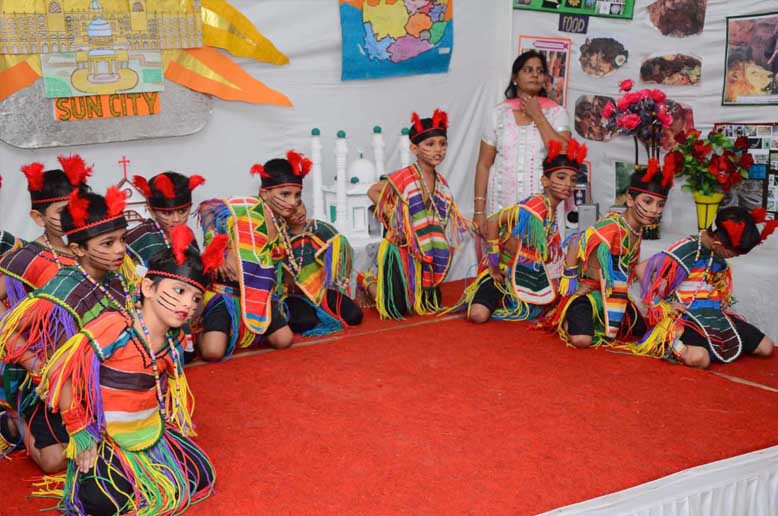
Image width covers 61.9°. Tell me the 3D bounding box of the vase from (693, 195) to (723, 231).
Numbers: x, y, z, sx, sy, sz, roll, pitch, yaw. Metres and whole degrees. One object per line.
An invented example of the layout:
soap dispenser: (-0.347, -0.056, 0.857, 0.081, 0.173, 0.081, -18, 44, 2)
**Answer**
vase: (2.206, -0.324, 4.510, 0.200, 0.253, 0.188, 5, 7, 27)

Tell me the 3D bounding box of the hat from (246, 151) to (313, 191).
hat: (-0.653, -0.524, 3.997, 0.290, 0.169, 0.267, 0, 4, -3)

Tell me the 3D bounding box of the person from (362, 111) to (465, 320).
person: (0.169, -0.301, 4.488, 0.763, 1.393, 0.393, -2, 14, -4)

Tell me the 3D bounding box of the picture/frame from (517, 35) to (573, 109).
picture/frame: (1.271, -1.552, 5.296, 0.433, 0.598, 0.012, 5, -22, 2)

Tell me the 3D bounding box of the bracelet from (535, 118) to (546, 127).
bracelet: (1.083, -0.971, 4.645, 0.049, 0.038, 0.051, 0, -5, 3)

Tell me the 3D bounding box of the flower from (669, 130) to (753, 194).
flower: (2.174, -0.642, 4.373, 0.787, 0.431, 0.431, -12, 18, -39)

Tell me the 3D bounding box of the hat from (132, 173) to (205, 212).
hat: (-1.282, -0.398, 3.773, 0.403, 0.196, 0.242, -9, 17, -38)

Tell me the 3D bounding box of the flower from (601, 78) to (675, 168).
flower: (1.861, -0.993, 4.760, 0.511, 0.595, 0.468, -12, -6, -32)

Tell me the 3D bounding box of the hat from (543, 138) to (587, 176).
hat: (1.134, -0.646, 4.223, 0.288, 0.300, 0.154, 0, 3, 9)

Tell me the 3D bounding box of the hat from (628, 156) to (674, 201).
hat: (1.569, -0.470, 3.873, 0.215, 0.210, 0.268, 8, -1, 5)

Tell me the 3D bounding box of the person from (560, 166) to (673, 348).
person: (1.444, -0.085, 4.047, 0.687, 1.062, 0.577, 5, 12, 0)

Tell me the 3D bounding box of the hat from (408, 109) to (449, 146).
hat: (0.263, -0.902, 4.510, 0.293, 0.228, 0.224, -13, -12, 4)

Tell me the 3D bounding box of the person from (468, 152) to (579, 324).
person: (0.976, -0.196, 4.469, 0.836, 1.226, 0.668, 1, 16, -19)

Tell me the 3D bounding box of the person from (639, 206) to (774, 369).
person: (1.830, 0.142, 3.723, 0.731, 0.889, 0.420, 5, 15, 21)

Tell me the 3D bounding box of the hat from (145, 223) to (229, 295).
hat: (-0.818, -0.011, 2.792, 0.331, 0.298, 0.255, 15, 2, -12)

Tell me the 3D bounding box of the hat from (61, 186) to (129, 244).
hat: (-1.301, -0.172, 2.880, 0.251, 0.210, 0.223, -10, 0, 0)
